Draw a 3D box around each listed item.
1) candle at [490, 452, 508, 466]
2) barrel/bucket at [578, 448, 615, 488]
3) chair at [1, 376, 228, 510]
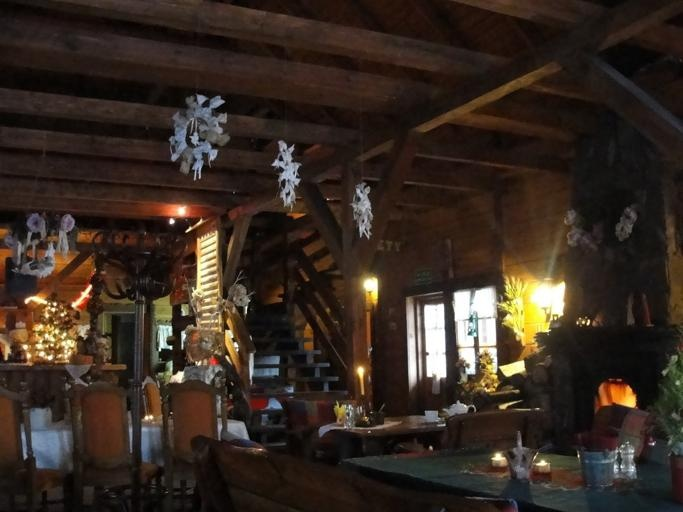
[{"bbox_3d":[0.935,1.206,3.982,0.086,0.074,0.088,0,-1,23],"label":"candle"},{"bbox_3d":[1.395,1.155,3.674,0.223,0.176,0.206,-1,-9,0],"label":"barrel/bucket"},{"bbox_3d":[-1.860,1.752,6.169,0.908,1.183,1.112,-13,-16,39],"label":"chair"}]
